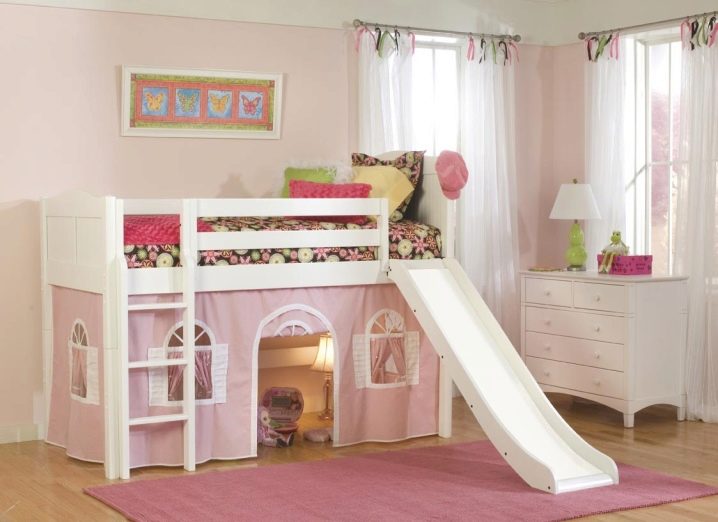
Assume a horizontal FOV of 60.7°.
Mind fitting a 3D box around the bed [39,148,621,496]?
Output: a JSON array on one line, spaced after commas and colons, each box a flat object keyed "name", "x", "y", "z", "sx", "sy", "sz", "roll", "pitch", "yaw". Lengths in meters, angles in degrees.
[{"name": "bed", "x": -0.485, "y": 0.393, "z": 3.510, "sx": 2.107, "sy": 1.266, "sz": 2.091, "roll": -2, "pitch": 1, "yaw": -34}]

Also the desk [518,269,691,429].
[{"name": "desk", "x": 1.691, "y": 0.545, "z": 4.850, "sx": 0.922, "sy": 1.429, "sz": 1.520, "roll": 1, "pitch": 0, "yaw": -35}]

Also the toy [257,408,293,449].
[{"name": "toy", "x": -0.503, "y": 1.051, "z": 3.838, "sx": 0.225, "sy": 0.079, "sz": 0.223, "roll": 1, "pitch": -1, "yaw": -18}]
